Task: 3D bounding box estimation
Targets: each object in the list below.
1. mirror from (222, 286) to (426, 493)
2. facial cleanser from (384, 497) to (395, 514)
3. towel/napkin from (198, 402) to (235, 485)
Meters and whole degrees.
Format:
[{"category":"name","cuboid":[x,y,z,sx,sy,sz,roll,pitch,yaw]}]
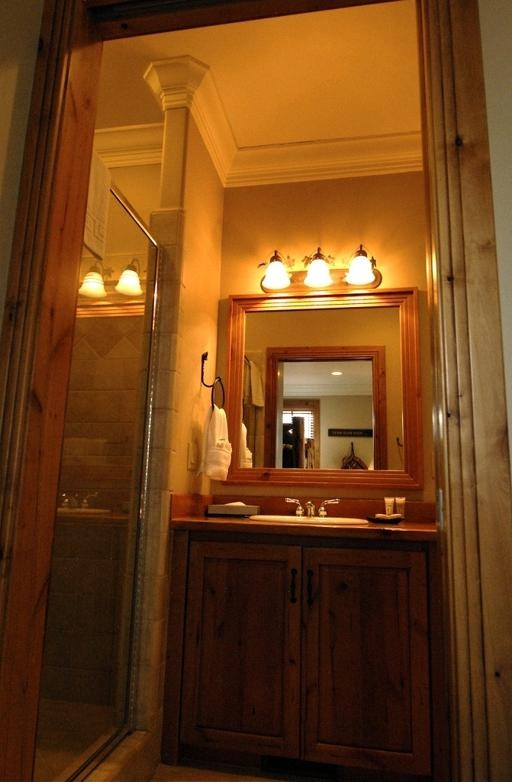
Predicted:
[{"category":"mirror","cuboid":[0.359,0.024,2.987,0.838,1.003,0.076,-1,-9,13]},{"category":"facial cleanser","cuboid":[0.582,0.503,2.711,0.044,0.086,0.187,-1,-14,12]},{"category":"towel/napkin","cuboid":[-0.177,0.235,2.786,0.122,0.326,0.207,3,-13,-5]}]
